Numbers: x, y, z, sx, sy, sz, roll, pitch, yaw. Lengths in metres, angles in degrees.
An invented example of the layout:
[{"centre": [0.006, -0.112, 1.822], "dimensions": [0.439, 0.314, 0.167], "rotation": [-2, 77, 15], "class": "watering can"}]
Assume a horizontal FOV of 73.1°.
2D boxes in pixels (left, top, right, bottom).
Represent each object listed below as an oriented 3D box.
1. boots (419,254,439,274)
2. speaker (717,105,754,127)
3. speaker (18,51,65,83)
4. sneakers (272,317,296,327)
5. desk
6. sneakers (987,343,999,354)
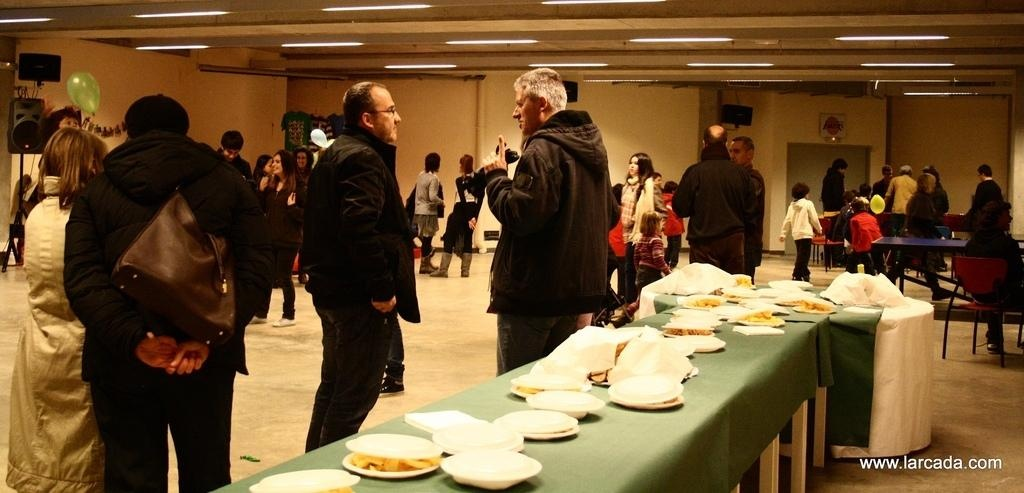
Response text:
[{"centre": [-1.700, 0.351, 13.779], "dimensions": [0.416, 0.395, 0.344], "rotation": [-2, 6, -14], "class": "boots"}, {"centre": [5.878, -3.477, 18.206], "dimensions": [0.833, 0.599, 0.387], "rotation": [0, 5, -13], "class": "speaker"}, {"centre": [-9.215, -3.511, 13.382], "dimensions": [0.788, 0.576, 0.360], "rotation": [1, 5, 7], "class": "speaker"}, {"centre": [-3.087, 1.037, 9.357], "dimensions": [0.325, 0.112, 0.110], "rotation": [1, -9, -16], "class": "sneakers"}, {"centre": [6.137, 0.256, 9.750], "dimensions": [1.138, 0.476, 0.575], "rotation": [2, 9, 17], "class": "desk"}, {"centre": [5.981, 1.280, 8.592], "dimensions": [0.127, 0.103, 0.115], "rotation": [0, -6, 1], "class": "sneakers"}]
